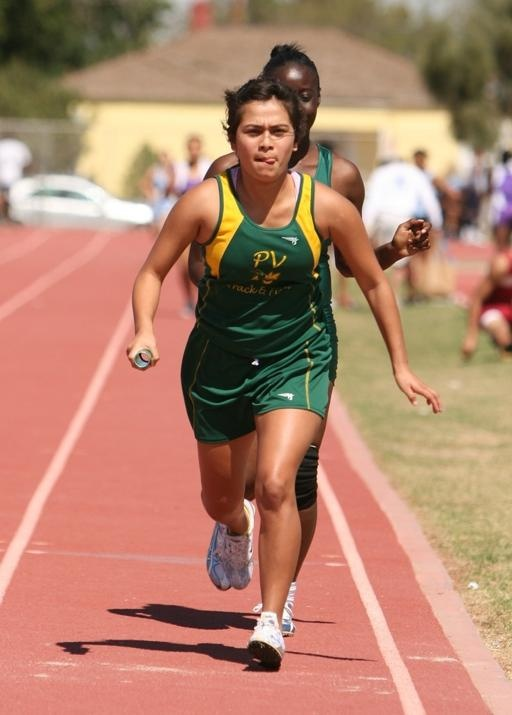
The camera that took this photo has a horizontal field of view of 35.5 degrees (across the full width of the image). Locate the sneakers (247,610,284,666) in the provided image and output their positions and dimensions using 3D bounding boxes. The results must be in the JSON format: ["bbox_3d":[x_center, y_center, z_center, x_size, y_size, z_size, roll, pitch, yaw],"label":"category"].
[{"bbox_3d":[0.050,0.733,2.057,0.082,0.183,0.086,5,61,11],"label":"sneakers"}]

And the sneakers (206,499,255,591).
[{"bbox_3d":[-0.101,0.667,2.758,0.151,0.329,0.167,-2,19,-9],"label":"sneakers"}]

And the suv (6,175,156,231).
[{"bbox_3d":[-4.730,-4.066,21.241,2.952,0.640,1.393,7,4,-30],"label":"suv"}]

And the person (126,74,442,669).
[{"bbox_3d":[-0.023,0.064,2.276,0.835,1.581,0.681,5,0,-21],"label":"person"}]
